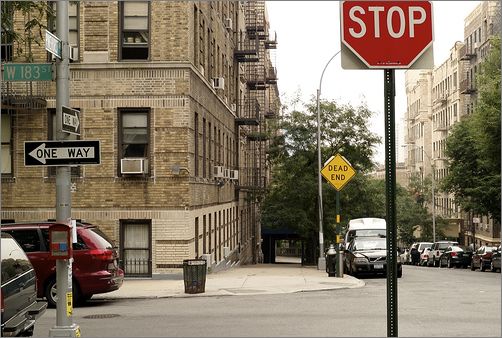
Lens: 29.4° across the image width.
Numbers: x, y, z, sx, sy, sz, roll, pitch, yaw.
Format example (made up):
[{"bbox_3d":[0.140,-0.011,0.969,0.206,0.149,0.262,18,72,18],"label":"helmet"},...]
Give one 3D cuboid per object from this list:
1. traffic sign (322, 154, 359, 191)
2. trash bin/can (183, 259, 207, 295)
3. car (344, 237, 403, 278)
[{"bbox_3d":[4.002,0.158,43.957,1.425,1.670,0.650,2,-6,1],"label":"traffic sign"},{"bbox_3d":[-2.306,4.344,38.602,0.905,1.382,0.392,3,-6,-7],"label":"trash bin/can"},{"bbox_3d":[5.613,4.143,46.286,1.810,1.397,3.725,-1,-11,2],"label":"car"}]
